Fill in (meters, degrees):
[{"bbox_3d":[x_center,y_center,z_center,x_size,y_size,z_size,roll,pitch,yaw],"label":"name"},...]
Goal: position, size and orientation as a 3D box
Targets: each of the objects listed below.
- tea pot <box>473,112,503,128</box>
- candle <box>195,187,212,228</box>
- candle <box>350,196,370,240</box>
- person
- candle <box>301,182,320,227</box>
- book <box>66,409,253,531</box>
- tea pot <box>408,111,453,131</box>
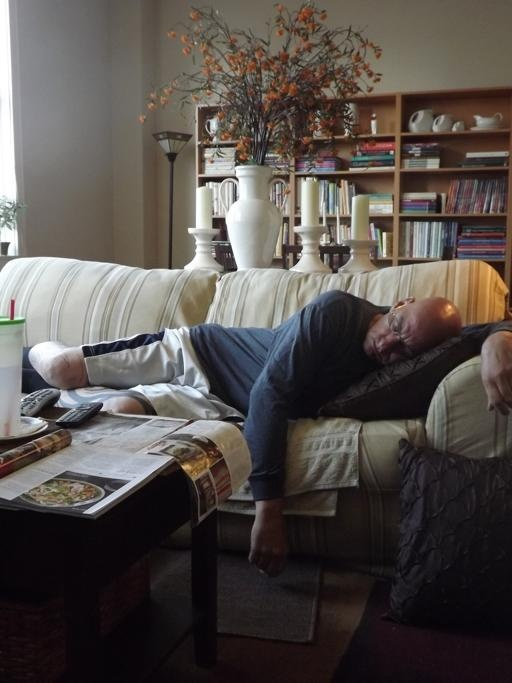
[{"bbox_3d":[1.607,-1.503,3.904,0.193,0.081,0.143,0,20,3],"label":"tea pot"},{"bbox_3d":[-0.230,-0.590,2.510,0.070,0.198,0.160,-4,4,-6],"label":"candle"},{"bbox_3d":[0.405,-0.484,2.225,0.066,0.172,0.112,-3,4,9],"label":"candle"},{"bbox_3d":[0.021,0.200,1.386,1.023,0.345,0.622,-6,0,15],"label":"person"},{"bbox_3d":[0.222,-0.550,2.232,0.048,0.185,0.047,0,4,7],"label":"candle"},{"bbox_3d":[-0.138,0.161,0.783,0.180,0.050,0.170,5,14,13],"label":"book"},{"bbox_3d":[1.215,-1.539,3.981,0.280,0.173,0.168,-2,27,11],"label":"tea pot"}]
